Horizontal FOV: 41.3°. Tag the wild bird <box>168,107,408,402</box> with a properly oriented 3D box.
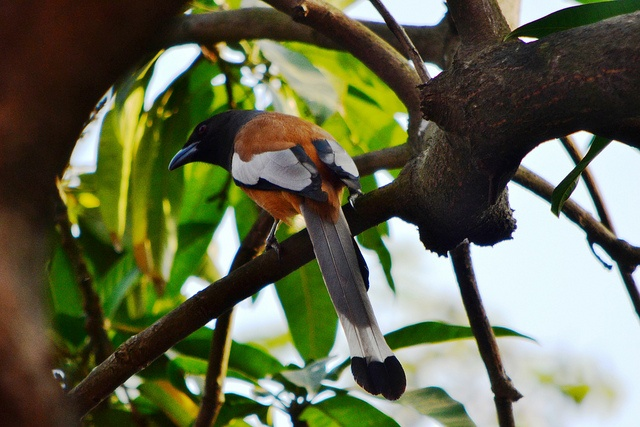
[{"bbox_3d":[-0.094,-0.044,4.665,0.674,2.401,0.815,-12,-52,-34],"label":"wild bird"}]
